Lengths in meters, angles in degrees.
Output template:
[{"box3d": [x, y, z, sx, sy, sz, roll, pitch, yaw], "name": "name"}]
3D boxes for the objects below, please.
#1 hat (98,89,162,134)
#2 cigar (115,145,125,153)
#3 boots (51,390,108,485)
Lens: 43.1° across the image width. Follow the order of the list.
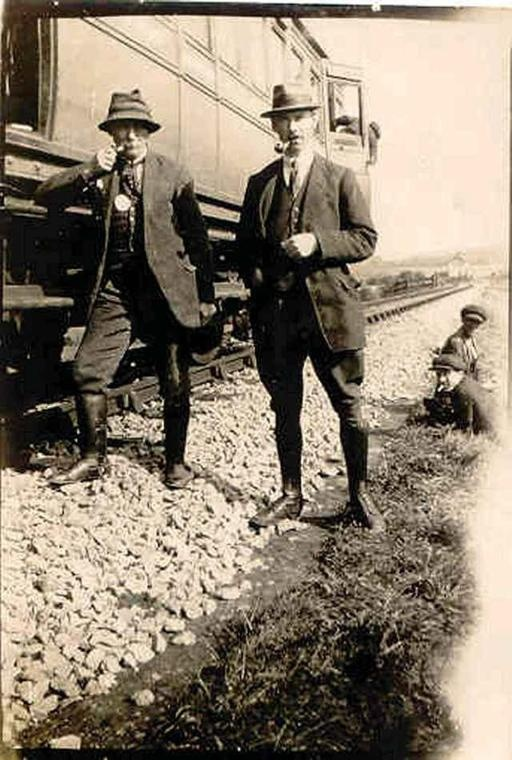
[{"box3d": [-0.498, -1.069, 2.561, 0.158, 0.103, 0.179, 2, 0, 7], "name": "hat"}, {"box3d": [-0.544, -0.920, 2.575, 0.024, 0.027, 0.006, -1, 9, -27], "name": "cigar"}, {"box3d": [-0.707, 0.269, 2.633, 0.202, 0.317, 0.104, -5, 40, -33], "name": "boots"}]
